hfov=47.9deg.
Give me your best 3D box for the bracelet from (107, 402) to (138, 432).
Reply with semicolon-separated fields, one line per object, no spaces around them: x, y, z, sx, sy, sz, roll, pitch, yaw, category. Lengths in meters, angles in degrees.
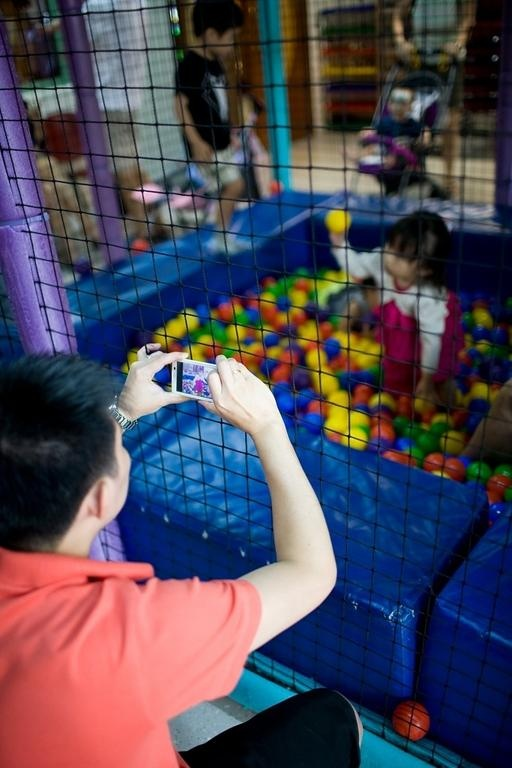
-0.198;0.047;0.859;0.043;0.028;0.039;41;67;9;bracelet
